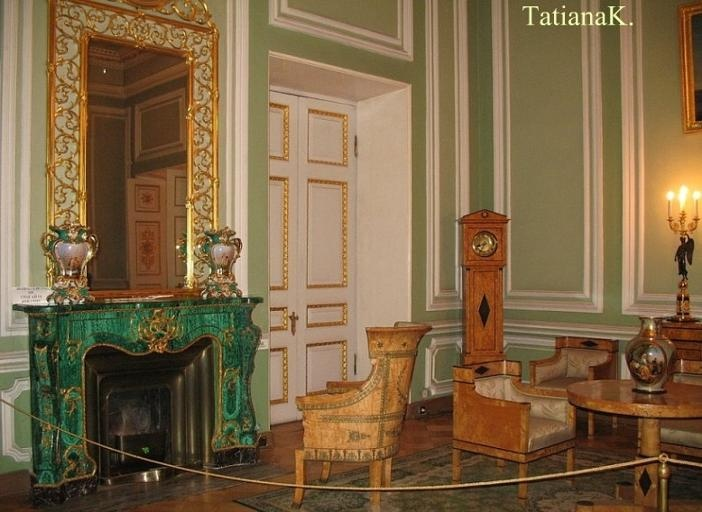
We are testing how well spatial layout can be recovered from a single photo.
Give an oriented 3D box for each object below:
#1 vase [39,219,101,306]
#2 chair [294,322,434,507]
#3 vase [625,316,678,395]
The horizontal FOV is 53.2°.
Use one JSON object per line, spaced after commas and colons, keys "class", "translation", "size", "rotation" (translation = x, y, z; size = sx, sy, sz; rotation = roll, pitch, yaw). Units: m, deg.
{"class": "vase", "translation": [-1.943, 0.045, 4.840], "size": [0.361, 0.539, 0.425], "rotation": [-1, 2, -22]}
{"class": "chair", "translation": [0.026, 0.953, 5.018], "size": [1.067, 1.400, 1.223], "rotation": [1, -5, 9]}
{"class": "vase", "translation": [1.867, 0.602, 4.369], "size": [0.298, 0.459, 0.301], "rotation": [-1, 4, 8]}
